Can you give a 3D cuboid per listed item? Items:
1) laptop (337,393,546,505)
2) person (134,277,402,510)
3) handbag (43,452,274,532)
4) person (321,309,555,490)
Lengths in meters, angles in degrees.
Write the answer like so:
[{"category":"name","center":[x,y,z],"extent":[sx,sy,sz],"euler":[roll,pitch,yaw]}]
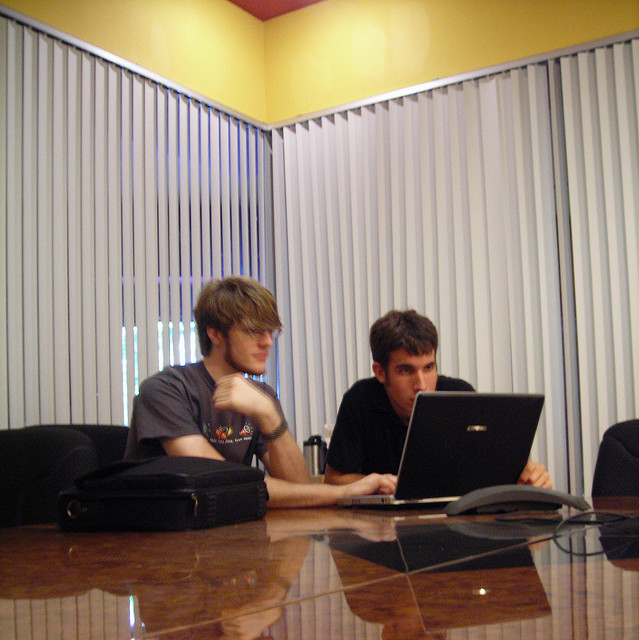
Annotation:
[{"category":"laptop","center":[0.314,0.296,1.583],"extent":[0.438,0.254,0.210],"euler":[2,-6,-16]},{"category":"person","center":[-0.191,0.210,2.043],"extent":[0.748,0.742,0.506],"euler":[-6,-9,19]},{"category":"handbag","center":[-0.310,0.332,1.333],"extent":[0.386,0.132,0.228],"euler":[-1,-6,3]},{"category":"person","center":[0.308,0.340,2.289],"extent":[0.538,0.695,0.741],"euler":[-6,15,-12]}]
